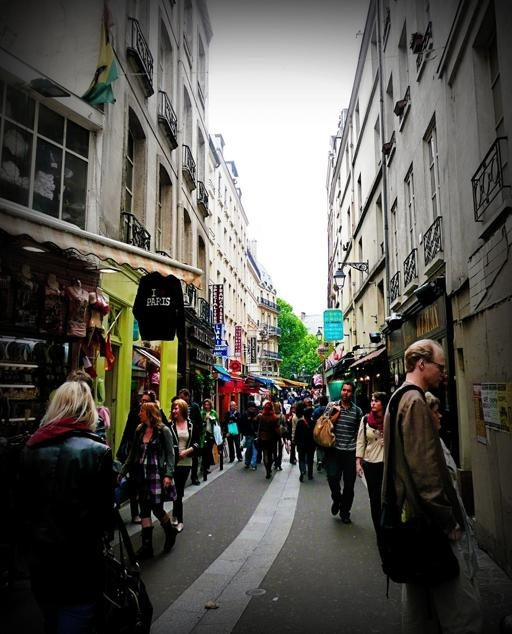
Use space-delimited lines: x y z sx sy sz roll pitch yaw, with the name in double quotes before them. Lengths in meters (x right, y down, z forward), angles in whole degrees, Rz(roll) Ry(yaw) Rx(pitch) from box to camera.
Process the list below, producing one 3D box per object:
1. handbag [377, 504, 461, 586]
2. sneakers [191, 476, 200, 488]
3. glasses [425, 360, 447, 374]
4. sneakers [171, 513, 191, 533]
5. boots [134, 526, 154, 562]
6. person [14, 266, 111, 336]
"handbag" 0.811 1.082 2.584 0.400 0.609 0.270 -2 -18 11
"sneakers" -1.376 3.680 10.819 0.108 0.308 0.335 5 -17 -35
"glasses" 1.054 0.307 2.827 0.084 0.099 0.242 -9 -13 39
"sneakers" -1.107 2.906 6.773 0.127 0.213 0.447 -1 -30 -3
"boots" -1.300 2.554 5.445 0.151 0.411 0.311 -13 -22 41
"person" -2.904 -0.192 7.145 0.266 1.001 1.876 -3 -11 15
